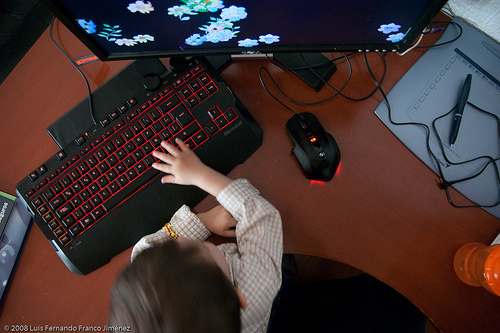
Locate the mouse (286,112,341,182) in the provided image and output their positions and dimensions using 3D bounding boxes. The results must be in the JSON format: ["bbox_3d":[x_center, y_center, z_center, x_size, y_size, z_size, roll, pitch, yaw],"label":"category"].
[{"bbox_3d":[0.166,-0.058,0.940,0.116,0.047,0.182,-27,79,0],"label":"mouse"}]

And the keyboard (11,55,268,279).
[{"bbox_3d":[-0.300,-0.012,0.996,0.664,0.133,0.355,-34,74,2],"label":"keyboard"}]
